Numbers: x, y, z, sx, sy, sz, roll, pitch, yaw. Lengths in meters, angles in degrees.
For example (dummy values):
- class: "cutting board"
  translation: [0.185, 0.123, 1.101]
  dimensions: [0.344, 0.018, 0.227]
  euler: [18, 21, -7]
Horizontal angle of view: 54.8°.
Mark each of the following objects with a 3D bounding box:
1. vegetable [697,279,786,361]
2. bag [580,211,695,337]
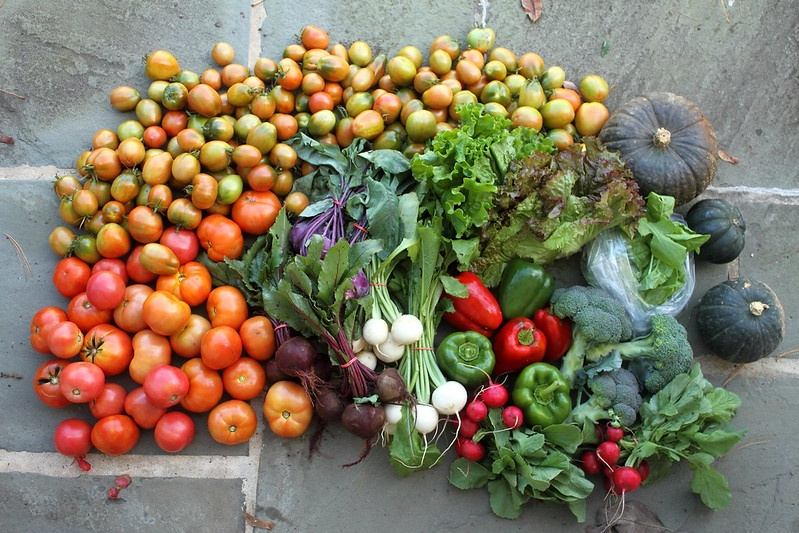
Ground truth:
- class: "vegetable"
  translation: [1.925, 0.308, 4.503]
  dimensions: [0.434, 0.450, 0.468]
  euler: [-5, 84, 7]
- class: "bag"
  translation: [1.297, 0.075, 4.167]
  dimensions: [0.553, 0.286, 0.655]
  euler: [-3, 83, 2]
